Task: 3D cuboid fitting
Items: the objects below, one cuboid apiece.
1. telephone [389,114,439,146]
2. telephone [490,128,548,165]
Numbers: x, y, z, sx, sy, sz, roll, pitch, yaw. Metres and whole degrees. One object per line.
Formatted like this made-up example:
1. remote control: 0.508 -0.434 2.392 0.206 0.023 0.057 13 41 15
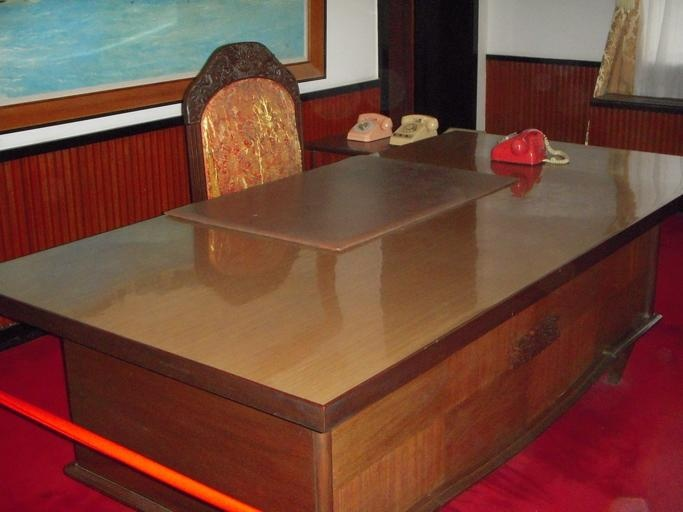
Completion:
1. telephone: 0.378 -0.663 2.963 0.261 0.131 0.264 15 28 39
2. telephone: 0.626 -0.389 2.144 0.171 0.118 0.174 5 -3 7
